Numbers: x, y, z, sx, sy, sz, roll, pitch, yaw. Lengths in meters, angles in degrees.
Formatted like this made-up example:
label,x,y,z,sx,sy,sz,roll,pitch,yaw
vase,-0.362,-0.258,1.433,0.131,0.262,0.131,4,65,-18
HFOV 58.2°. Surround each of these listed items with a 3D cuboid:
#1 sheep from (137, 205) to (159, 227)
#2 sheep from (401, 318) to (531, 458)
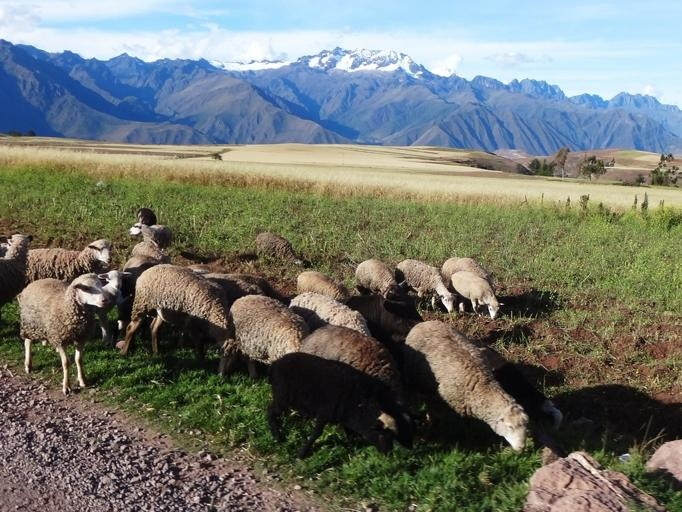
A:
label,x,y,z,sx,sy,sz,roll,pitch,yaw
sheep,-6.176,-1.245,19.562,0.521,0.441,0.905,1,-3,-21
sheep,2.276,2.215,11.161,2.905,1.403,1.208,39,78,27
